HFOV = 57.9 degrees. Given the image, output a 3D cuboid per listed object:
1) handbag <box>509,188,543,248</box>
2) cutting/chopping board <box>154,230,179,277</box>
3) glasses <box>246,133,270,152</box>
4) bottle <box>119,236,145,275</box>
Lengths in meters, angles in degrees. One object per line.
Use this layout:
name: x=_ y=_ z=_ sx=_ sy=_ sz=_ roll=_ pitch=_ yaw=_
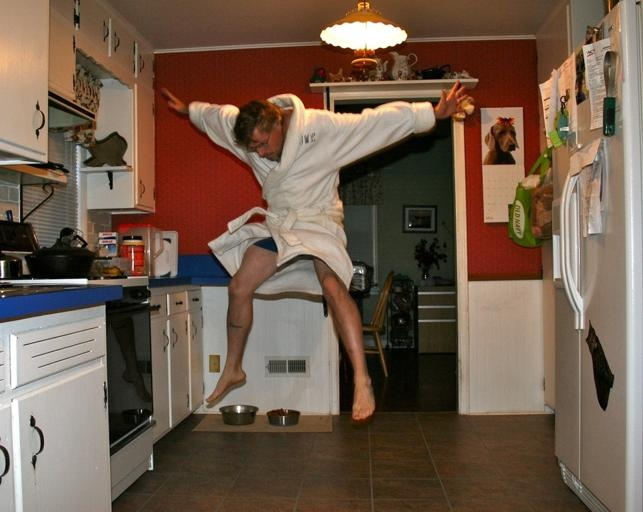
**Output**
handbag: x=1.424 y=-0.265 z=4.025 sx=0.188 sy=0.497 sz=0.397 roll=-2 pitch=1 yaw=-5
cutting/chopping board: x=-1.110 y=-0.010 z=4.164 sx=0.189 sy=0.309 sz=0.046 roll=0 pitch=2 yaw=-37
glasses: x=-0.307 y=-0.564 z=2.871 sx=0.073 sy=0.110 sz=0.059 roll=5 pitch=8 yaw=22
bottle: x=-1.221 y=0.000 z=3.750 sx=0.144 sy=0.255 sz=0.251 roll=-1 pitch=4 yaw=-20
